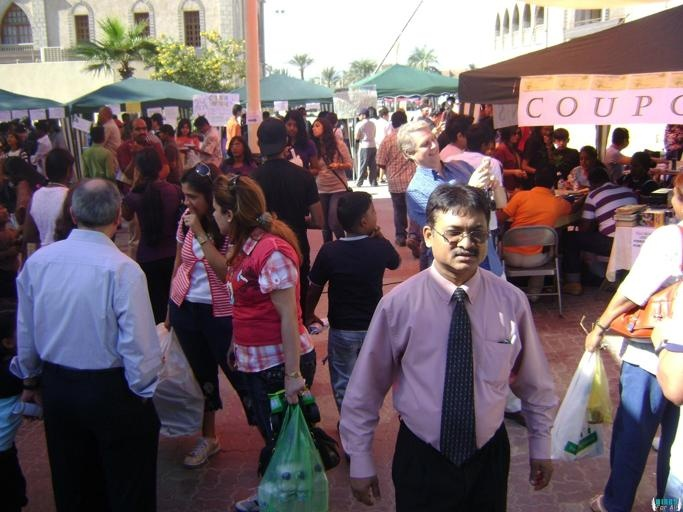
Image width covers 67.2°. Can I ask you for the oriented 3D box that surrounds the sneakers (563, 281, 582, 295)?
[{"bbox_3d":[3.461,0.468,7.700,0.112,0.156,0.347,-1,10,3],"label":"sneakers"}]

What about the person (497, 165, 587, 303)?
[{"bbox_3d":[2.798,-0.521,7.455,0.966,1.647,1.060,17,30,29],"label":"person"}]

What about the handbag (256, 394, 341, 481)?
[{"bbox_3d":[-0.273,1.025,3.032,0.473,0.520,0.246,-6,17,-9],"label":"handbag"}]

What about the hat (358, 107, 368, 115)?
[{"bbox_3d":[0.709,-4.656,16.542,0.282,0.210,0.265,2,15,4],"label":"hat"}]

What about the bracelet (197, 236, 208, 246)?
[{"bbox_3d":[-0.978,-0.107,3.588,0.057,0.058,0.017,1,-12,-17],"label":"bracelet"}]

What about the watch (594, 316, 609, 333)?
[{"bbox_3d":[1.669,0.433,3.277,0.065,0.061,0.091,14,2,-19],"label":"watch"}]

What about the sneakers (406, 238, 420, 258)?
[{"bbox_3d":[1.143,-0.158,8.174,0.166,0.227,0.524,0,-23,17],"label":"sneakers"}]

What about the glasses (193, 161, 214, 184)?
[{"bbox_3d":[-0.990,-0.613,3.688,0.126,0.136,0.049,24,45,33],"label":"glasses"}]

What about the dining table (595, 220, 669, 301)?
[{"bbox_3d":[3.761,0.004,6.385,0.542,0.549,0.563,13,-6,-26],"label":"dining table"}]

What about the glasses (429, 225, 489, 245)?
[{"bbox_3d":[0.535,-0.096,2.310,0.232,0.071,0.072,3,15,7],"label":"glasses"}]

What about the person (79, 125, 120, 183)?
[{"bbox_3d":[-5.065,-2.120,10.654,0.566,1.112,1.271,-7,17,-27],"label":"person"}]

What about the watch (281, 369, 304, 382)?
[{"bbox_3d":[-0.288,0.705,3.068,0.105,0.054,0.061,1,15,-1],"label":"watch"}]

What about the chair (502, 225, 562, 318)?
[{"bbox_3d":[2.643,0.147,7.162,0.727,1.219,0.887,-5,4,27],"label":"chair"}]

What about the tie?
[{"bbox_3d":[0.556,0.546,2.338,0.167,0.769,0.236,5,16,14],"label":"tie"}]

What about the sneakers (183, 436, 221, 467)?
[{"bbox_3d":[-1.139,1.558,4.155,0.114,0.139,0.344,30,16,13],"label":"sneakers"}]

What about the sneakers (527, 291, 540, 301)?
[{"bbox_3d":[2.740,0.578,7.318,0.147,0.121,0.157,-1,2,4],"label":"sneakers"}]
